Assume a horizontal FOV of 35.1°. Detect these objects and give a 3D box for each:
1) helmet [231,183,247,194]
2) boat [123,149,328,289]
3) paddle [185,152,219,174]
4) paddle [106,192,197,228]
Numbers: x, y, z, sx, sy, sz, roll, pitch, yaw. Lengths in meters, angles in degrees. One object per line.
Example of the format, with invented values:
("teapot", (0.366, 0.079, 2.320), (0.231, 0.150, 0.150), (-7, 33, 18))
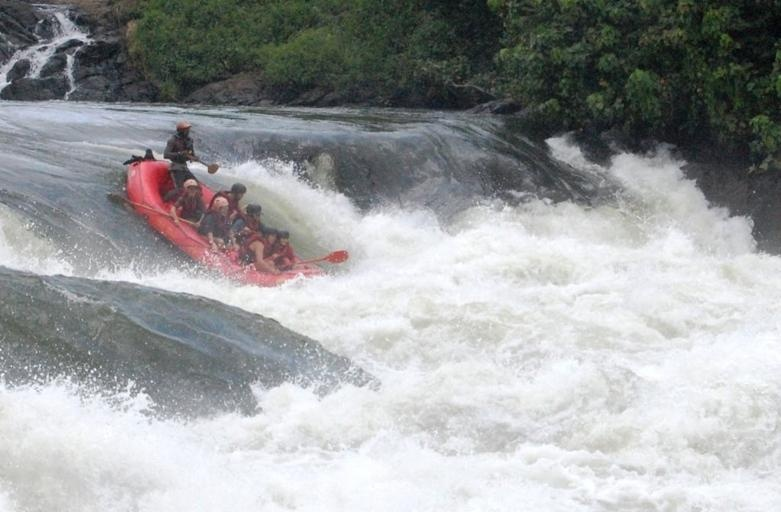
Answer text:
("helmet", (-3.845, -1.684, 31.244), (0.345, 0.302, 0.250), (-7, 49, -6))
("boat", (-4.967, -0.586, 30.776), (5.086, 0.995, 2.706), (34, 22, 1))
("paddle", (-4.733, -2.300, 31.831), (0.455, 0.387, 1.083), (-16, -22, 29))
("paddle", (-5.963, -1.081, 30.783), (2.203, 0.245, 0.236), (17, -13, 12))
